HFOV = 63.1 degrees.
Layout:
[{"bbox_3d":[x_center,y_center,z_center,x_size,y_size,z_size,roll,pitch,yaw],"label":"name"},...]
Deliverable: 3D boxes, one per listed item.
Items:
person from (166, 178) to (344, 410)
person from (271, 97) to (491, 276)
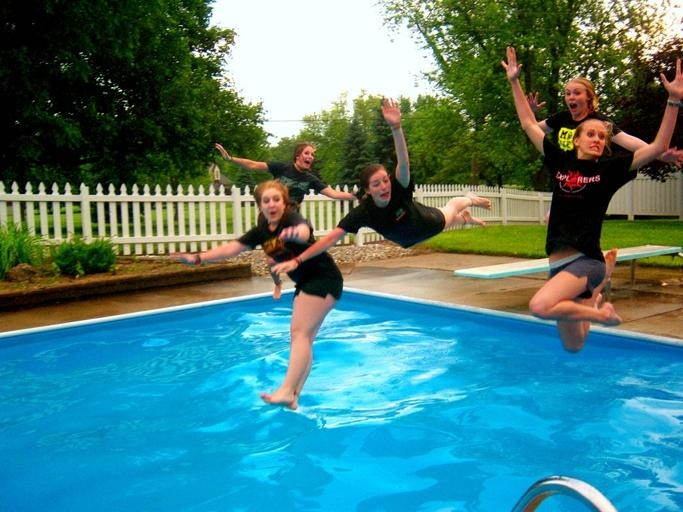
[{"bbox_3d":[-0.490,0.387,5.185,0.912,2.188,0.766,-8,9,-30],"label":"person"},{"bbox_3d":[0.635,-0.704,5.600,1.028,1.305,3.091,-7,3,43],"label":"person"}]
